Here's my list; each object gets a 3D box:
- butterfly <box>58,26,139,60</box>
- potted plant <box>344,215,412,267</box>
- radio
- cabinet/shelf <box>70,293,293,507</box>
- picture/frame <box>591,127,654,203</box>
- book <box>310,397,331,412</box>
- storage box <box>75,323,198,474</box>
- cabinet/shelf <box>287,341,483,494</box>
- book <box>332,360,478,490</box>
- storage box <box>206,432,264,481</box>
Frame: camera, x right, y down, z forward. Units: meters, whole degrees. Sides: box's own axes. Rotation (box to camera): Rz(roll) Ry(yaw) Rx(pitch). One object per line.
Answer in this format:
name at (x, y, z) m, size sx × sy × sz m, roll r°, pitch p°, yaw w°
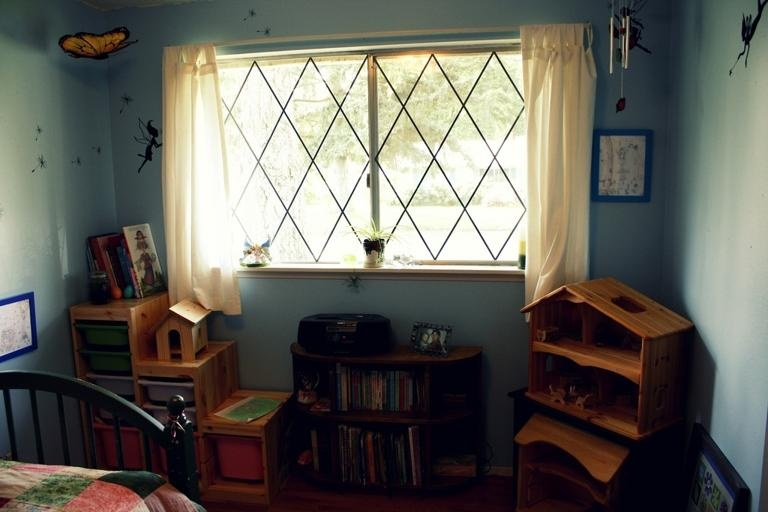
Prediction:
butterfly at (-1.714, -1.265, 3.571) m, size 0.390 × 0.133 × 0.279 m, roll -2°, pitch 7°, yaw -1°
potted plant at (-0.081, -0.101, 3.897) m, size 0.352 × 0.322 × 0.202 m, roll -2°, pitch 7°, yaw -3°
radio at (-0.255, 0.489, 3.653) m, size 0.554 × 0.211 × 0.164 m, roll -2°, pitch 7°, yaw -6°
cabinet/shelf at (-1.255, 0.864, 3.555) m, size 1.220 × 1.136 × 0.430 m, roll 1°, pitch 6°, yaw 10°
picture/frame at (1.436, -0.557, 3.543) m, size 0.439 × 0.553 × 0.040 m, roll 1°, pitch 2°, yaw 7°
book at (-0.394, 0.919, 3.703) m, size 0.078 × 0.019 × 0.079 m, roll 2°, pitch 10°, yaw 24°
storage box at (-1.587, 0.800, 3.994) m, size 1.113 × 0.832 × 0.877 m, roll 1°, pitch -6°, yaw -15°
cabinet/shelf at (0.040, 0.988, 3.666) m, size 0.938 × 0.635 × 0.311 m, roll 0°, pitch 1°, yaw 6°
book at (0.090, 1.026, 3.645) m, size 0.800 × 0.625 × 0.292 m, roll -1°, pitch -1°, yaw 9°
storage box at (-0.893, 1.210, 3.589) m, size 0.286 × 0.216 × 0.336 m, roll 0°, pitch -7°, yaw 0°
